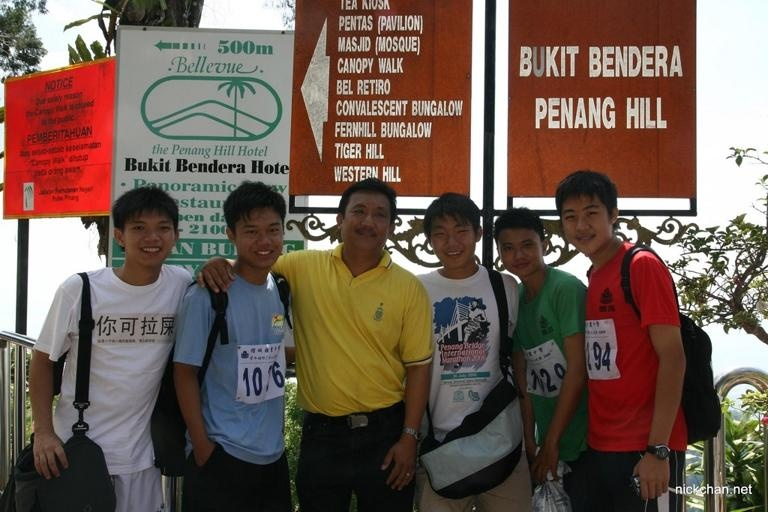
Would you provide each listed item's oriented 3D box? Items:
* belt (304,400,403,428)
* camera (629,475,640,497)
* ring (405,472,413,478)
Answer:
[{"bbox_3d":[-0.234,1.226,5.953,0.768,0.173,0.164,-1,-2,-1],"label":"belt"},{"bbox_3d":[1.857,1.686,5.713,0.061,0.160,0.081,-2,-2,19],"label":"camera"},{"bbox_3d":[0.187,1.653,5.872,0.072,0.044,0.016,0,-2,-41],"label":"ring"}]
